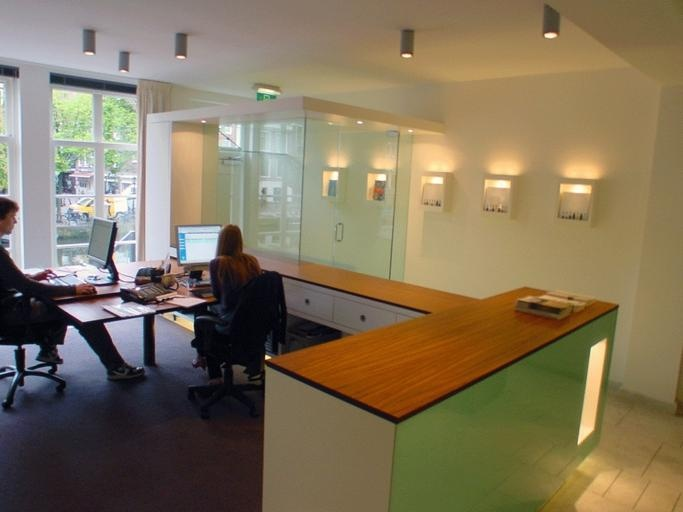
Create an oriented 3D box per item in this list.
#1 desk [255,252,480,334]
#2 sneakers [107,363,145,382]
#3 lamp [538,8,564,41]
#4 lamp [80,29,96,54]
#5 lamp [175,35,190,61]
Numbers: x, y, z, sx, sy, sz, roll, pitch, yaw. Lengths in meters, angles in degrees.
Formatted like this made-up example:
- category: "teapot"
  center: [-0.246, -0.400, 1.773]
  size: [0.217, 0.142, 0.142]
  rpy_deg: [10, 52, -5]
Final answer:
- category: "desk"
  center: [0.299, 0.489, 4.849]
  size: [1.919, 0.422, 0.544]
  rpy_deg: [11, 23, 23]
- category: "sneakers"
  center: [-2.067, 1.123, 5.002]
  size: [0.358, 0.163, 0.142]
  rpy_deg: [-1, 6, -19]
- category: "lamp"
  center: [1.651, -1.847, 4.133]
  size: [0.125, 0.227, 0.387]
  rpy_deg: [4, 11, 20]
- category: "lamp"
  center: [-2.667, -2.270, 5.531]
  size: [0.128, 0.225, 0.273]
  rpy_deg: [-5, 12, -24]
- category: "lamp"
  center: [-1.667, -2.205, 5.445]
  size: [0.114, 0.205, 0.201]
  rpy_deg: [-5, 12, -24]
